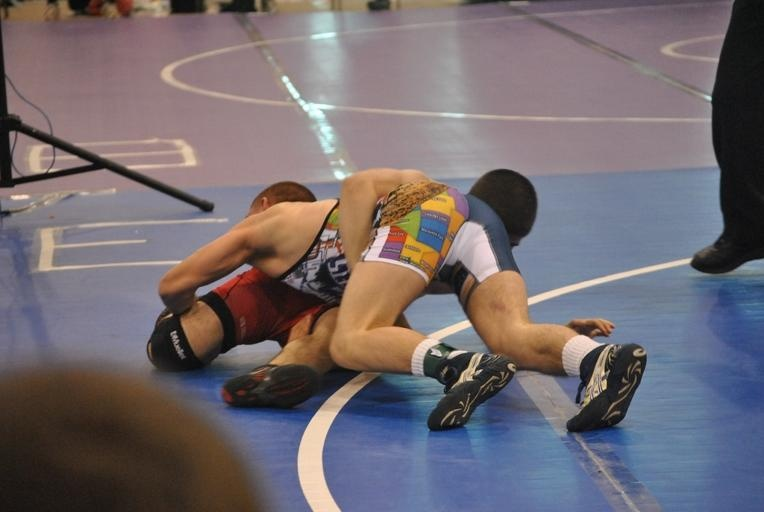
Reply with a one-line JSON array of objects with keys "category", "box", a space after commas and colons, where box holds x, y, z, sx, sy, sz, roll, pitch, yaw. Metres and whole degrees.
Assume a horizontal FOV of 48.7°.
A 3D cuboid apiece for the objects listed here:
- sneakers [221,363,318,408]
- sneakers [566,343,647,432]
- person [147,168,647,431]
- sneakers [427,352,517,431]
[{"category": "sneakers", "box": [-0.443, 0.542, 3.598, 0.451, 0.149, 0.183, 0, 6, 2]}, {"category": "sneakers", "box": [0.866, 0.513, 3.271, 0.244, 0.248, 0.154, 8, 5, 13]}, {"category": "person", "box": [0.222, 0.121, 3.697, 1.780, 0.721, 1.214, 9, -6, 38]}, {"category": "sneakers", "box": [0.358, 0.542, 3.366, 0.284, 0.098, 0.185, -36, 24, -1]}]
